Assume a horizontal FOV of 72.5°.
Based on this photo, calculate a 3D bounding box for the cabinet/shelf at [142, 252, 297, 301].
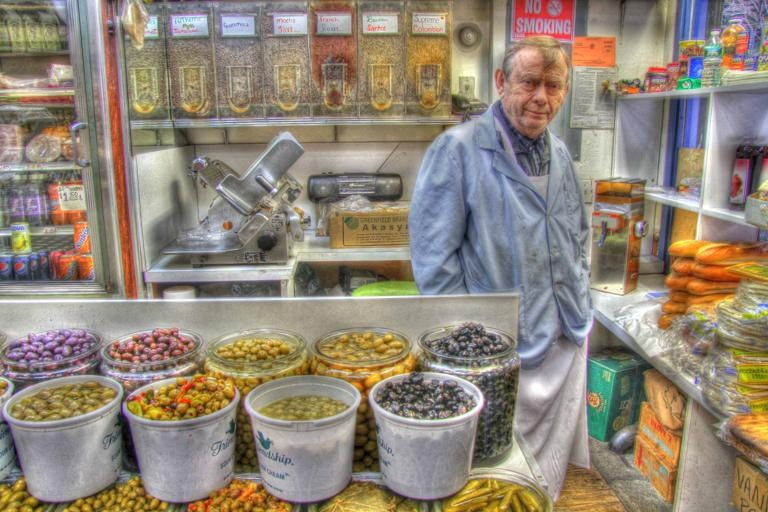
[{"bbox_3d":[-1.001,0.136,3.267,0.884,0.262,0.248,-3,16,1],"label":"cabinet/shelf"}]

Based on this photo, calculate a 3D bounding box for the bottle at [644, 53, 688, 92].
[{"bbox_3d":[1.646,-1.057,3.057,0.216,0.150,0.219,-2,14,0],"label":"bottle"}]

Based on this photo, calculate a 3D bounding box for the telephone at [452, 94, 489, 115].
[{"bbox_3d":[0.579,-1.012,3.499,0.194,0.091,0.271,-6,26,-14],"label":"telephone"}]

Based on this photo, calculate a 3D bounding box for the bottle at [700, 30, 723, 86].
[{"bbox_3d":[1.709,-1.025,2.705,0.084,0.278,0.144,6,19,30],"label":"bottle"}]
